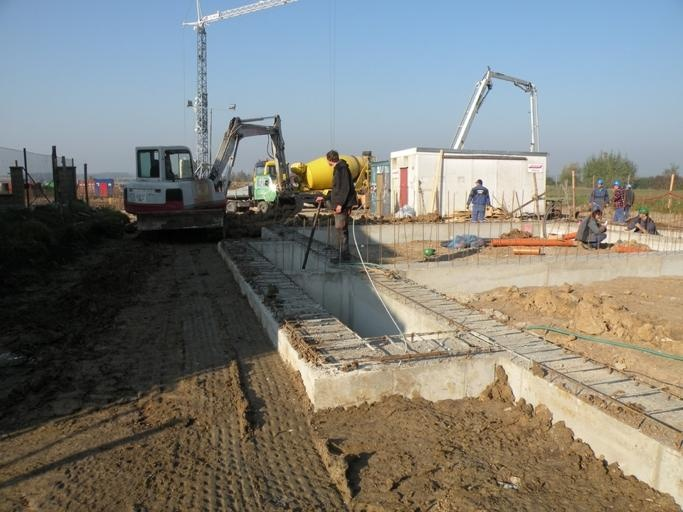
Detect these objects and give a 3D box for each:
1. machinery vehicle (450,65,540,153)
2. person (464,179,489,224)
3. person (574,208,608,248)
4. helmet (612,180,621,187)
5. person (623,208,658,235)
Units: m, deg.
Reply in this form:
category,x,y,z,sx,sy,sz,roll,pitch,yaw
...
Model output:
category,x,y,z,sx,sy,sz,roll,pitch,yaw
machinery vehicle,6.709,-6.137,20.631,4.163,4.530,0.823,10,51,28
person,4.233,-1.689,14.316,0.617,1.247,1.090,4,14,16
person,5.411,-0.572,10.104,0.590,0.814,0.488,9,13,26
helmet,8.218,-2.137,13.913,0.264,0.137,0.183,-8,7,-44
person,7.622,-0.884,11.776,0.697,0.667,1.677,8,16,32
